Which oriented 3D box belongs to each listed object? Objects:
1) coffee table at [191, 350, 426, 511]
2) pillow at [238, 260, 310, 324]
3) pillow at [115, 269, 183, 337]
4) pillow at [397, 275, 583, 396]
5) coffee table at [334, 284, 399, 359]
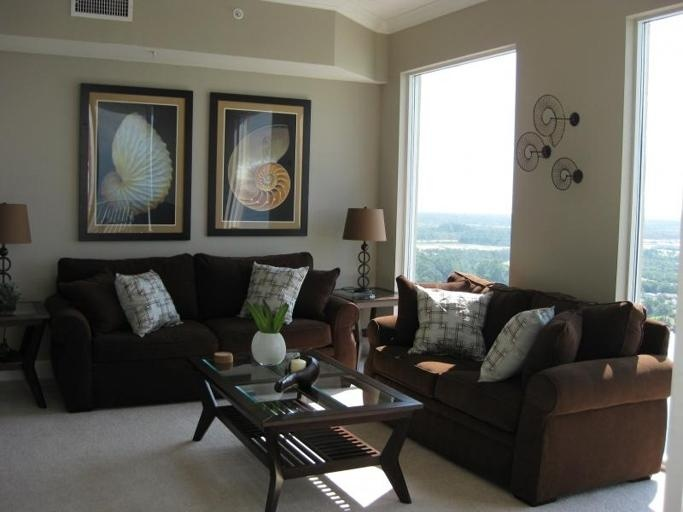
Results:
[{"bbox_3d":[-0.129,0.968,3.021,0.757,0.485,1.153,-3,10,-28],"label":"coffee table"},{"bbox_3d":[-0.650,0.360,4.814,0.530,0.557,0.167,8,-8,26],"label":"pillow"},{"bbox_3d":[-1.694,0.403,4.465,0.434,0.465,0.468,6,8,32],"label":"pillow"},{"bbox_3d":[0.860,0.522,4.026,0.758,0.827,0.239,6,-15,33],"label":"pillow"},{"bbox_3d":[0.283,0.582,5.330,0.598,0.754,0.736,-1,5,-24],"label":"coffee table"}]
